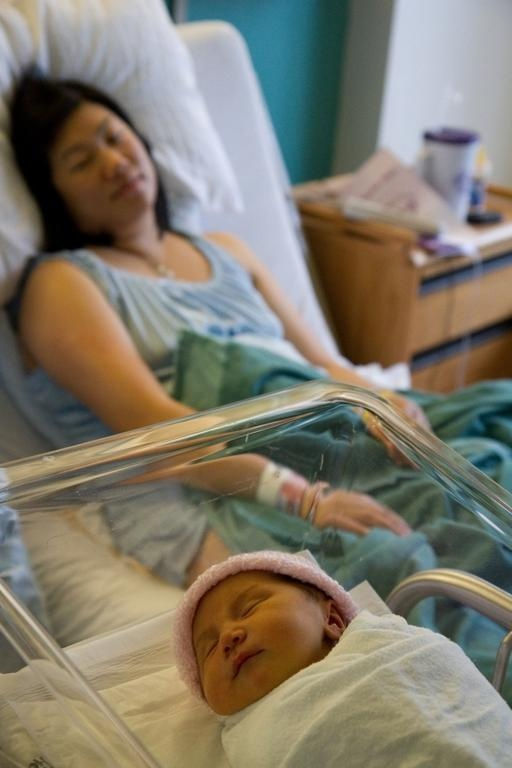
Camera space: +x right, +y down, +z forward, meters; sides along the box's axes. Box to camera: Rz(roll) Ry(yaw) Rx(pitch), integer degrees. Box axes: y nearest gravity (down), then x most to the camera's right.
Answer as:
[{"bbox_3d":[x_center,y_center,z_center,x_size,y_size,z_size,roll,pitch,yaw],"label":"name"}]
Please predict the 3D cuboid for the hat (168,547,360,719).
[{"bbox_3d":[0.018,0.178,0.511,0.115,0.099,0.103,42,7,-12],"label":"hat"}]

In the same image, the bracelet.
[{"bbox_3d":[0.036,0.087,0.619,0.074,0.065,0.042,14,40,33],"label":"bracelet"}]
